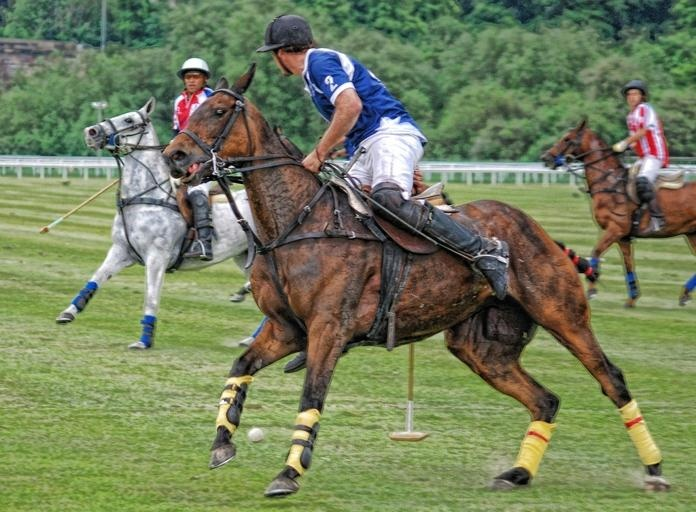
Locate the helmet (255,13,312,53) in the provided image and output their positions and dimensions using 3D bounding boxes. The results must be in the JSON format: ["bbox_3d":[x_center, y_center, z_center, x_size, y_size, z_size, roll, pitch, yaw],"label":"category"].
[{"bbox_3d":[-0.493,-1.821,8.319,0.556,0.198,0.315,0,16,8],"label":"helmet"}]

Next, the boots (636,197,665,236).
[{"bbox_3d":[4.308,-0.541,14.323,0.503,0.432,0.211,-9,3,21],"label":"boots"}]

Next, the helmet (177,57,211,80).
[{"bbox_3d":[-1.796,-2.189,11.711,0.401,0.143,0.356,0,-11,-1],"label":"helmet"}]
